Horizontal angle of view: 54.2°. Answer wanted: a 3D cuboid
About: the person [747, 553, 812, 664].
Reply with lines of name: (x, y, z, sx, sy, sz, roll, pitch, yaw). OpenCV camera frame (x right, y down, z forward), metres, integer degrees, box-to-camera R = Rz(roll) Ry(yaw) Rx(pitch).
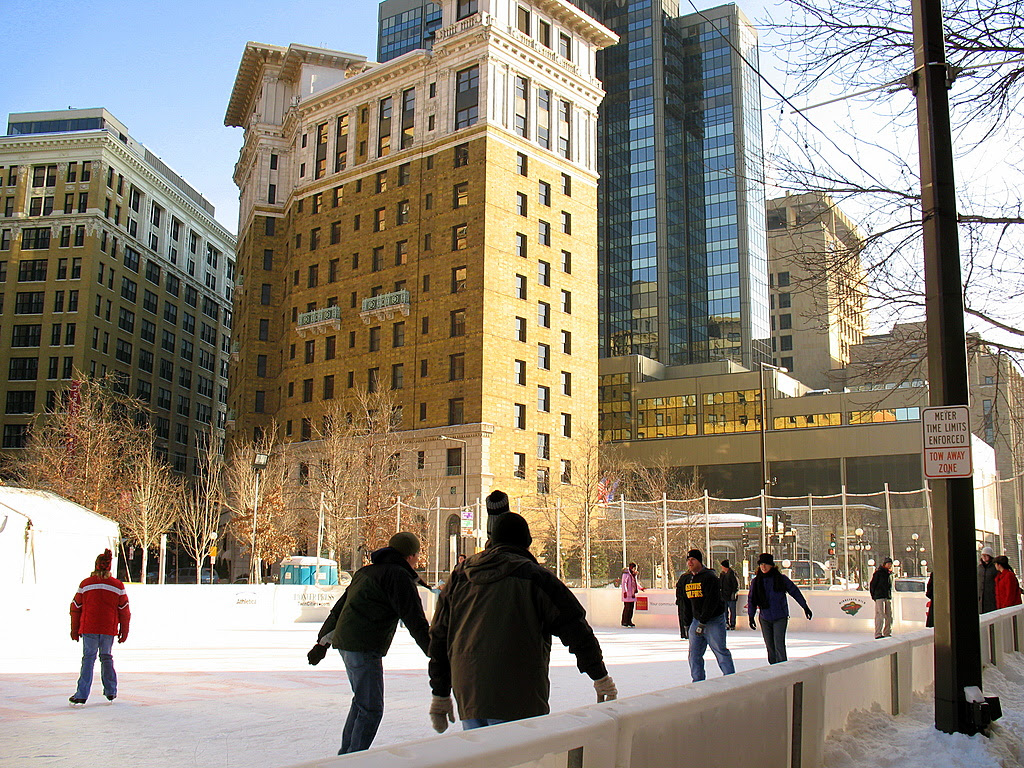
person: (4.499, 3.782, 17.052, 0.884, 1.824, 1.071, -5, -11, 12)

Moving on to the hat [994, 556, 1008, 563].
hat: (10.090, 3.607, 20.589, 0.293, 0.161, 0.216, 5, -6, -45)

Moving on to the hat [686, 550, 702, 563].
hat: (2.950, 2.754, 16.199, 0.266, 0.212, 0.196, 28, -24, -31)

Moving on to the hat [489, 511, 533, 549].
hat: (-0.007, 1.279, 8.791, 0.267, 0.374, 0.360, 2, -9, 5)

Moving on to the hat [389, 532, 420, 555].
hat: (-1.157, 1.671, 10.661, 0.238, 0.193, 0.323, 15, -2, -14)

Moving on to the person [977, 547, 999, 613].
person: (9.863, 3.999, 20.714, 0.410, 1.255, 1.409, -8, -12, 25)

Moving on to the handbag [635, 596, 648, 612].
handbag: (4.457, 7.489, 34.349, 0.555, 0.583, 0.420, -3, -19, 13)

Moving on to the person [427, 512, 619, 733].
person: (-0.016, 2.014, 8.679, 1.524, 1.818, 0.573, -3, -11, 1)

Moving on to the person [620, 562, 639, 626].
person: (3.969, 7.113, 33.932, 0.622, 2.081, 1.438, -4, -11, 6)
